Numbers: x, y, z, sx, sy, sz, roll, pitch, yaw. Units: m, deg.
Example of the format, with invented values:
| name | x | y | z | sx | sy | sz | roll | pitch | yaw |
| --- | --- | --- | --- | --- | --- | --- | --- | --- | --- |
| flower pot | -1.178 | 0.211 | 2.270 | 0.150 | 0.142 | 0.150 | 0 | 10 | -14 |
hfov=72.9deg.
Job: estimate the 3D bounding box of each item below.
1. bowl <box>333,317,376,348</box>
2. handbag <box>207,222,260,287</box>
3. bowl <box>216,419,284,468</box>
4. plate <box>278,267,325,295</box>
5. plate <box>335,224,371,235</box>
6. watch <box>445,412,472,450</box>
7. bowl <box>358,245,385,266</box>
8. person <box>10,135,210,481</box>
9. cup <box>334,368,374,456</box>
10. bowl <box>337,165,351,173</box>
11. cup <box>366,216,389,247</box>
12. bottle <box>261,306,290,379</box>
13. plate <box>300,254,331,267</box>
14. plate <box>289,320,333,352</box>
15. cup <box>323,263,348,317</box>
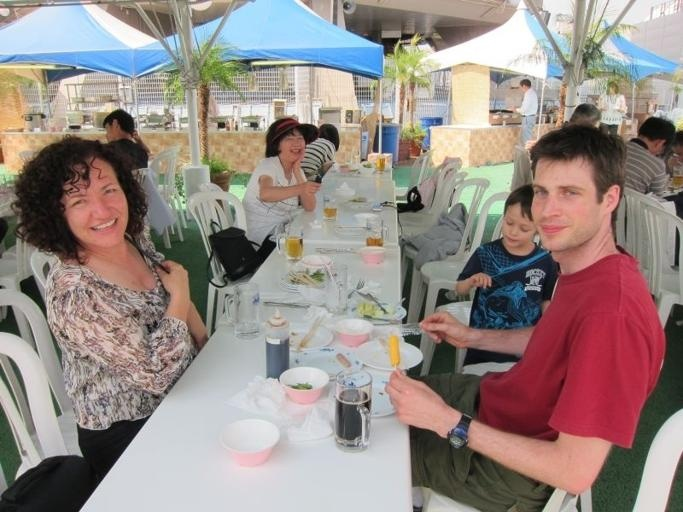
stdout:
| name | x | y | z | sx | sy | sz | roll | pitch | yaw |
| --- | --- | --- | --- | --- | --- | --- | --- | --- | --- |
| bowl | 0.041 | 0.305 | 1.860 | 0.158 | 0.067 | 0.156 | -2 | 13 | 0 |
| handbag | -0.756 | -0.007 | 3.193 | 0.230 | 0.402 | 0.401 | -15 | 9 | 33 |
| bowl | -0.251 | 0.511 | 1.276 | 0.171 | 0.076 | 0.151 | 10 | 18 | 41 |
| plate | -0.195 | 0.113 | 2.367 | 0.222 | 0.060 | 0.342 | -4 | 13 | -7 |
| plate | 0.068 | -0.188 | 3.326 | 0.221 | 0.027 | 0.294 | -2 | 13 | 1 |
| watch | 0.338 | 0.503 | 1.318 | 0.058 | 0.097 | 0.093 | 25 | 25 | 14 |
| bowl | 0.183 | -0.008 | 2.696 | 0.130 | 0.089 | 0.149 | -2 | 13 | 3 |
| person | -0.867 | 0.185 | 1.809 | 0.618 | 1.274 | 0.642 | -7 | 14 | -18 |
| cup | 0.031 | 0.431 | 1.298 | 0.109 | 0.212 | 0.086 | -3 | 13 | -2 |
| bowl | 0.037 | -1.166 | 6.232 | 0.128 | 0.062 | 0.168 | 1 | 9 | 5 |
| cup | 0.233 | -0.156 | 3.082 | 0.150 | 0.259 | 0.155 | -1 | 23 | 0 |
| bottle | -0.231 | 0.313 | 1.629 | 0.092 | 0.326 | 0.093 | 2 | 26 | -1 |
| plate | -0.141 | 0.023 | 2.607 | 0.166 | 0.037 | 0.309 | -3 | 13 | -4 |
| plate | -0.117 | 0.317 | 1.826 | 0.163 | 0.046 | 0.198 | -3 | 13 | -4 |
| cup | -0.023 | 0.140 | 2.076 | 0.100 | 0.196 | 0.181 | -2 | 13 | -1 |
